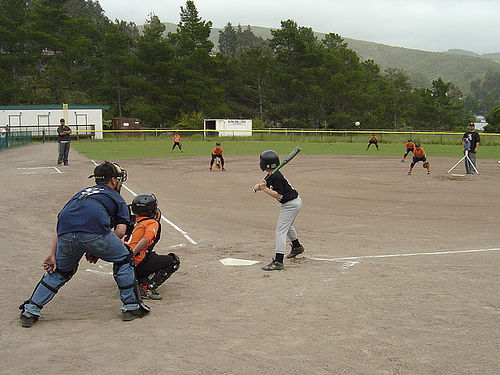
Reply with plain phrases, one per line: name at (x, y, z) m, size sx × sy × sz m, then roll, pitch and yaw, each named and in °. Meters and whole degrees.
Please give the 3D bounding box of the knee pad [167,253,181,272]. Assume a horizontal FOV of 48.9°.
knee pad at (-1.183, 1.170, 8.590) m, size 0.155 × 0.292 × 0.187 m, roll 1°, pitch 6°, yaw 0°

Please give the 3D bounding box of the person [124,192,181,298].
person at (-1.550, 0.902, 8.554) m, size 0.921 × 1.580 × 1.017 m, roll 2°, pitch 8°, yaw -14°

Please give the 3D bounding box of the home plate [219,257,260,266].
home plate at (-0.197, 1.370, 10.052) m, size 0.685 × 0.030 × 0.488 m, roll 0°, pitch 5°, yaw -7°
